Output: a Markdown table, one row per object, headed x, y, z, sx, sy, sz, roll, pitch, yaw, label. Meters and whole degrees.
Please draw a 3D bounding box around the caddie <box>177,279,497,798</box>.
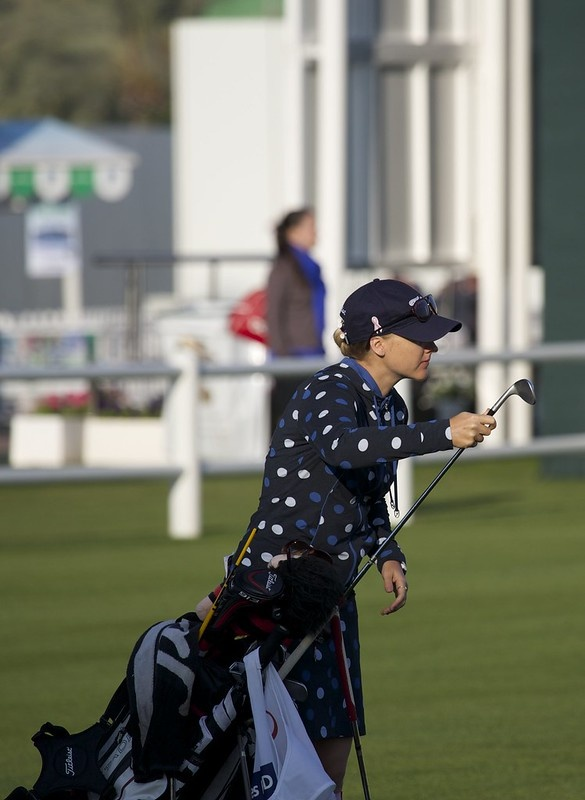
| x | y | z | sx | sy | sz | roll | pitch | yaw | label |
| --- | --- | --- | --- | --- | --- | --- | --- | --- | --- |
| 0.121 | 0.403 | 5.075 | 0.785 | 1.482 | 0.635 | 0 | 0 | 18 | caddie |
